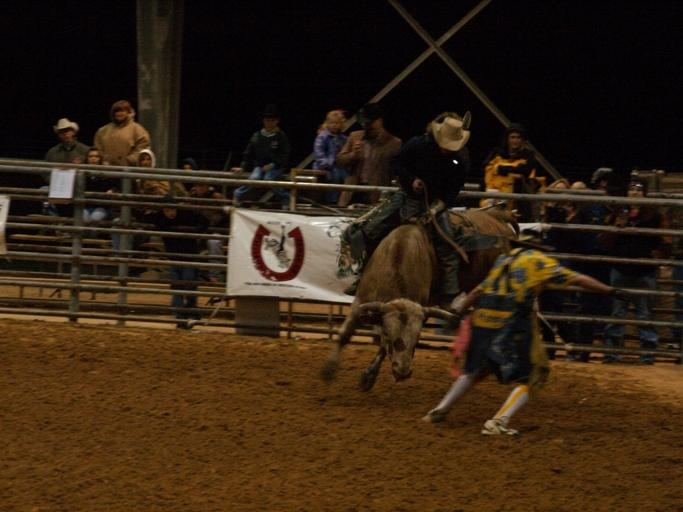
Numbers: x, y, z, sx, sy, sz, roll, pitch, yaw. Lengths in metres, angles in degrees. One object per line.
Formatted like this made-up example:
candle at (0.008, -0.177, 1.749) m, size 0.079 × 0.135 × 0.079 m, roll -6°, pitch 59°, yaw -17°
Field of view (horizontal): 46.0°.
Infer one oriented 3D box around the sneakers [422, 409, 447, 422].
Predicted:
sneakers at (1.145, 1.962, 9.815) m, size 0.290 × 0.097 × 0.129 m, roll -17°, pitch -5°, yaw 2°

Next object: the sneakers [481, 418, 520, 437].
sneakers at (1.906, 2.055, 9.629) m, size 0.427 × 0.098 × 0.246 m, roll 0°, pitch -9°, yaw 5°

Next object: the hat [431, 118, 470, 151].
hat at (1.454, -1.653, 10.489) m, size 0.637 × 0.198 × 0.493 m, roll 8°, pitch 41°, yaw -10°

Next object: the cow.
cow at (0.924, 0.366, 10.220) m, size 1.527 × 1.812 × 4.045 m, roll 30°, pitch 31°, yaw 14°
